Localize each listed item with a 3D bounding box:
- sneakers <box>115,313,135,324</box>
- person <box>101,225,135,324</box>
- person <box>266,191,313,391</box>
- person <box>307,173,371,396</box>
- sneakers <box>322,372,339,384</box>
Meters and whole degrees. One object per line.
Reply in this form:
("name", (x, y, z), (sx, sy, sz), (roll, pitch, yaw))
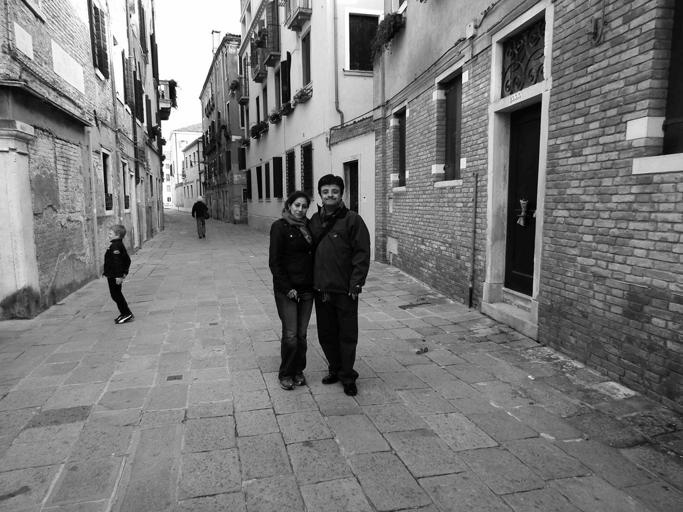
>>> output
("sneakers", (-3.288, 0.931, 7.513), (0.128, 0.103, 0.210), (-4, 0, 41))
("person", (-3.382, 0.247, 7.529), (0.357, 1.503, 0.612), (-6, 14, -24))
("person", (-0.501, 0.359, 5.205), (0.454, 2.031, 0.465), (-5, 13, -19))
("person", (-0.014, 0.274, 5.169), (0.697, 2.212, 0.419), (11, 17, 41))
("sneakers", (-0.110, 1.317, 5.371), (0.168, 0.085, 0.090), (9, 2, -26))
